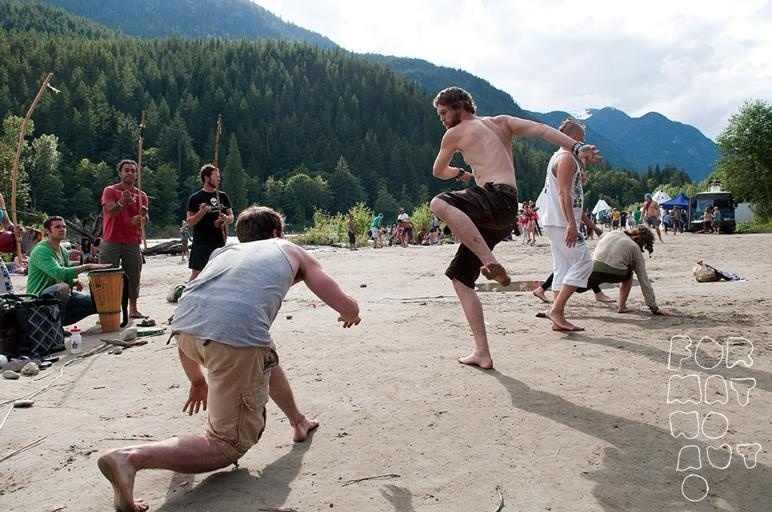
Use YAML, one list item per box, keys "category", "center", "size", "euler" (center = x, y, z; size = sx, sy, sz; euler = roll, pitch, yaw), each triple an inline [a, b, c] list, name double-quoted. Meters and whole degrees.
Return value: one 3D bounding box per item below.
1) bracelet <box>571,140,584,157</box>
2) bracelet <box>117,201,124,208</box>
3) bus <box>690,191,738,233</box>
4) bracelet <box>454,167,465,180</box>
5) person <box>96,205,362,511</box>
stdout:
- category: "bracelet"
  center: [2.060, -1.160, 6.410]
  size: [0.100, 0.180, 0.135]
  euler: [24, 29, 30]
- category: "bracelet"
  center: [-4.030, -0.790, 8.897]
  size: [0.086, 0.064, 0.085]
  euler: [-1, 4, -31]
- category: "bus"
  center: [19.619, -2.637, 35.167]
  size: [1.920, 2.038, 4.612]
  euler: [0, -5, 8]
- category: "bracelet"
  center: [0.850, -0.936, 6.625]
  size: [0.106, 0.121, 0.139]
  euler: [-6, -14, 37]
- category: "person"
  center: [-1.344, 0.735, 4.726]
  size: [1.615, 2.245, 0.569]
  euler: [-6, 5, -27]
